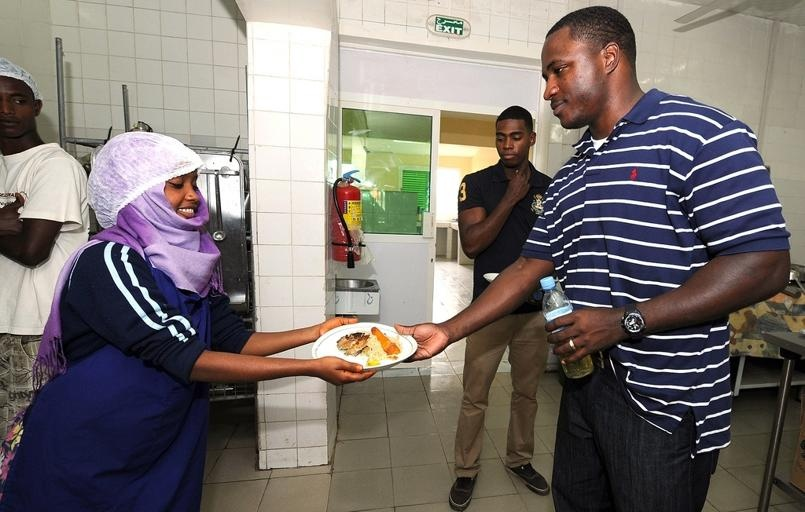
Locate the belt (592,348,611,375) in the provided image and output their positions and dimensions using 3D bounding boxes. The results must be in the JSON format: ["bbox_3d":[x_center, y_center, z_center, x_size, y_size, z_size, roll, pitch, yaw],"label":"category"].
[{"bbox_3d":[1.000,0.531,2.844,0.109,0.150,0.094,-8,-11,15],"label":"belt"}]

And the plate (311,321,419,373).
[{"bbox_3d":[-0.249,0.483,3.111,0.412,0.244,0.508,-15,-14,40],"label":"plate"}]

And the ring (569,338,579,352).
[{"bbox_3d":[0.816,0.424,2.696,0.013,0.043,0.044,-12,14,-7],"label":"ring"}]

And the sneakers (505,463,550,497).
[{"bbox_3d":[0.844,1.487,3.812,0.113,0.103,0.269,-7,11,-36],"label":"sneakers"}]

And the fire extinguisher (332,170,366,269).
[{"bbox_3d":[-0.406,-0.271,4.213,0.233,0.681,0.259,-1,-7,-5],"label":"fire extinguisher"}]
